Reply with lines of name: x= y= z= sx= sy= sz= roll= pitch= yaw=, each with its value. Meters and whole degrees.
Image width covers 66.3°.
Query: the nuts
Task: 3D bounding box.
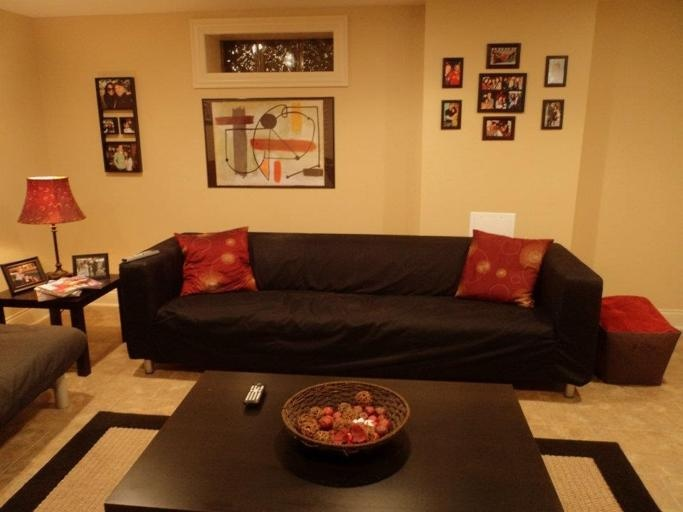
nuts: x=0.011 y=0.762 z=2.392 sx=0.361 sy=0.136 sz=0.269 roll=1 pitch=13 yaw=-12

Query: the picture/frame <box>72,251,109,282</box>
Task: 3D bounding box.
picture/frame: x=-1.930 y=0.094 z=4.026 sx=0.233 sy=0.191 sz=0.018 roll=-1 pitch=-3 yaw=-15
